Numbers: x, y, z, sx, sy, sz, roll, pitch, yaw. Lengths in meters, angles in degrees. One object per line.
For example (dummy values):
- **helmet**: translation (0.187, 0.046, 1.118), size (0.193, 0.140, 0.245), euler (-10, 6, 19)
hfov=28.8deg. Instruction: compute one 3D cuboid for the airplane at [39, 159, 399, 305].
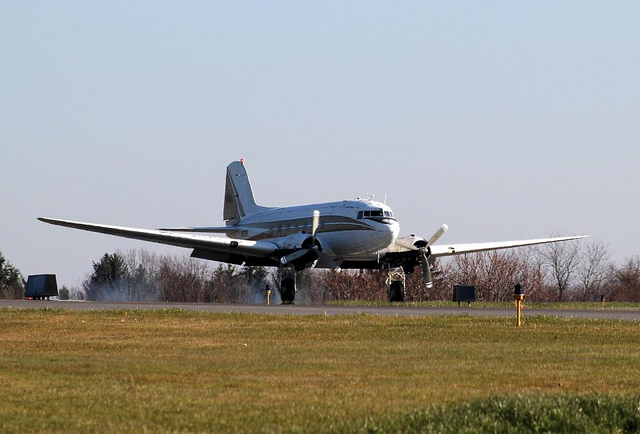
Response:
- **airplane**: translation (-1.693, 0.438, 67.418), size (23.289, 6.826, 15.572), euler (-2, 1, -26)
